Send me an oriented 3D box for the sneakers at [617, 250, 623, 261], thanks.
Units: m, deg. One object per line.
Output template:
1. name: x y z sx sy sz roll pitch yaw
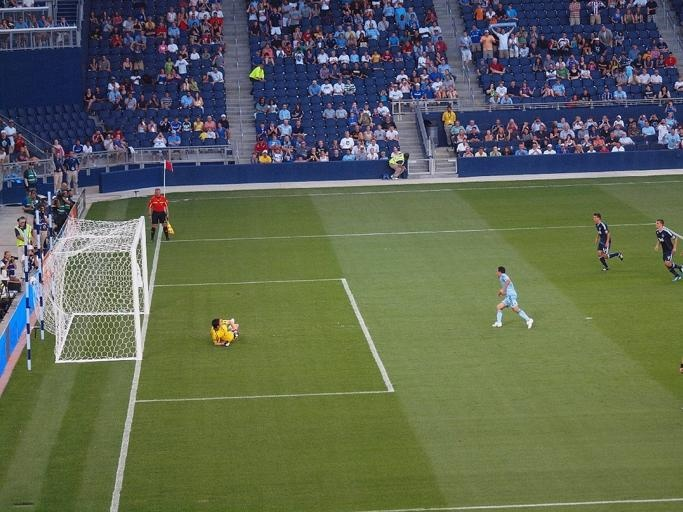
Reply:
1. sneakers: 9.391 -0.005 37.959 0.107 0.306 0.136 -16 1 8

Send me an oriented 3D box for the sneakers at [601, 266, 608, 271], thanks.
1. sneakers: 8.595 0.403 36.763 0.361 0.142 0.137 -1 6 -4

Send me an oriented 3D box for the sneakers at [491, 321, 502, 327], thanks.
1. sneakers: 4.448 1.932 32.234 0.120 0.148 0.331 -3 8 -24

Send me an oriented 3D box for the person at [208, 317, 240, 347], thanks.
1. person: -3.253 2.019 31.411 0.810 0.765 0.973 -2 13 -7
